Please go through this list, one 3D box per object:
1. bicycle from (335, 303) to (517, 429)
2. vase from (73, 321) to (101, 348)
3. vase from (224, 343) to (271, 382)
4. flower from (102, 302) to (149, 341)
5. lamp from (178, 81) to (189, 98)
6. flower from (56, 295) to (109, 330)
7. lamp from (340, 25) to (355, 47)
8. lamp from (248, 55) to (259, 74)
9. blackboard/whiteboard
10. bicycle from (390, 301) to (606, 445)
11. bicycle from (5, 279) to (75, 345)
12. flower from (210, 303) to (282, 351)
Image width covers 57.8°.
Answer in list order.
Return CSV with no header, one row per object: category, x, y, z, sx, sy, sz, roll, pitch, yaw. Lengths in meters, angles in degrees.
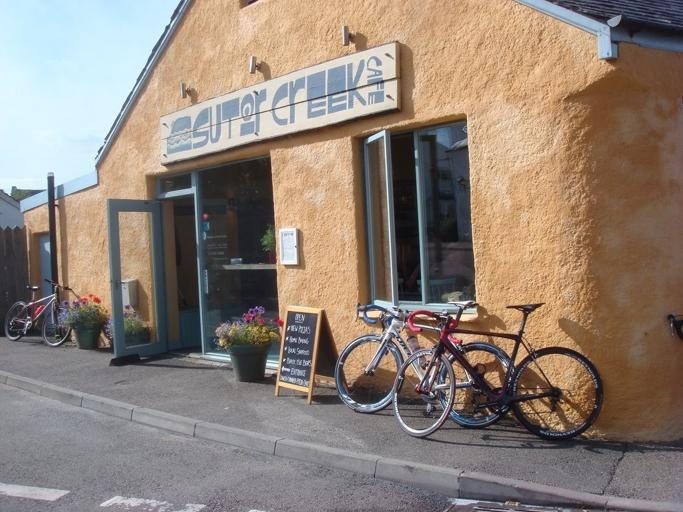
bicycle,0.935,1.292,7.360,2.141,1.245,0.727,5,-10,17
vase,-4.792,1.489,11.750,0.519,0.406,0.517,-1,-5,22
vase,-1.334,1.488,8.839,0.560,0.434,0.580,-5,-6,40
flower,-3.792,1.179,10.975,0.736,0.390,0.891,-4,-1,-37
lamp,-2.557,-2.690,10.028,0.103,0.251,0.164,-6,11,-19
flower,-4.933,1.060,11.928,0.821,0.517,0.806,2,-1,-11
lamp,0.082,-2.841,7.967,0.171,0.262,0.199,-3,10,-1
lamp,-1.266,-2.782,8.997,0.151,0.246,0.156,-5,10,-15
blackboard/whiteboard,-0.568,1.246,8.046,0.699,1.143,0.463,5,13,36
bicycle,1.631,1.269,6.778,2.333,1.410,0.964,-3,-17,26
bicycle,-6.277,1.198,12.872,0.996,1.419,2.559,-11,13,-40
flower,-1.369,1.092,8.998,0.954,0.491,0.979,-12,7,-32
